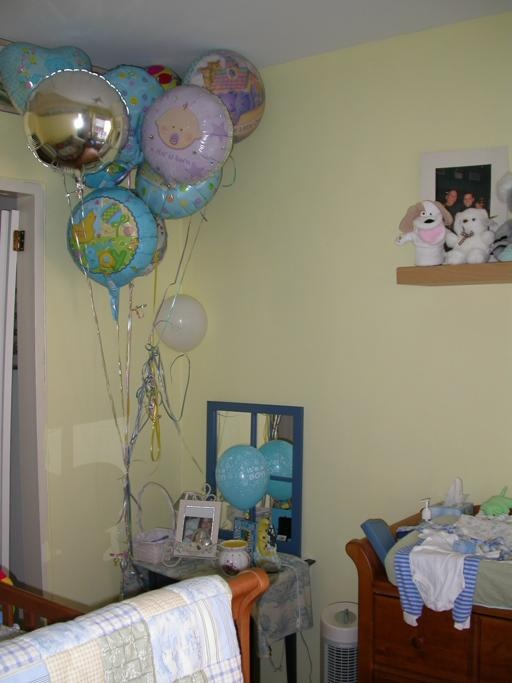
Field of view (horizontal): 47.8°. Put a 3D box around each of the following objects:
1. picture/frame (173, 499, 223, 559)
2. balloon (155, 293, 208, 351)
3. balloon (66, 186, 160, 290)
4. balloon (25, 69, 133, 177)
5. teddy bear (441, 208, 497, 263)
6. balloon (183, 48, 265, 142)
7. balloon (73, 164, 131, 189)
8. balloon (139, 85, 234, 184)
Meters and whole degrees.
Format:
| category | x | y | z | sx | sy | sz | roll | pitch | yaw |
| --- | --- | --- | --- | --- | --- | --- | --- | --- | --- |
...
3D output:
| category | x | y | z | sx | sy | sz | roll | pitch | yaw |
| --- | --- | --- | --- | --- | --- | --- | --- | --- | --- |
| picture/frame | -0.239 | 0.760 | 2.330 | 0.242 | 0.295 | 0.038 | 1 | -27 | 9 |
| balloon | -0.275 | -0.093 | 2.597 | 0.246 | 0.279 | 0.243 | 3 | 5 | 6 |
| balloon | -0.477 | -0.338 | 1.916 | 0.325 | 0.376 | 0.304 | 9 | 15 | 6 |
| balloon | -0.503 | -0.604 | 1.623 | 0.276 | 0.283 | 0.173 | 8 | 11 | -5 |
| teddy bear | 0.735 | -0.358 | 1.985 | 0.163 | 0.199 | 0.166 | -5 | 9 | -5 |
| balloon | -0.122 | -0.887 | 2.221 | 0.352 | 0.364 | 0.217 | -16 | 22 | -37 |
| balloon | -0.516 | -0.561 | 1.963 | 0.174 | 0.068 | 0.098 | -21 | 33 | 1 |
| balloon | -0.212 | -0.640 | 1.898 | 0.305 | 0.300 | 0.158 | -10 | 10 | 14 |
